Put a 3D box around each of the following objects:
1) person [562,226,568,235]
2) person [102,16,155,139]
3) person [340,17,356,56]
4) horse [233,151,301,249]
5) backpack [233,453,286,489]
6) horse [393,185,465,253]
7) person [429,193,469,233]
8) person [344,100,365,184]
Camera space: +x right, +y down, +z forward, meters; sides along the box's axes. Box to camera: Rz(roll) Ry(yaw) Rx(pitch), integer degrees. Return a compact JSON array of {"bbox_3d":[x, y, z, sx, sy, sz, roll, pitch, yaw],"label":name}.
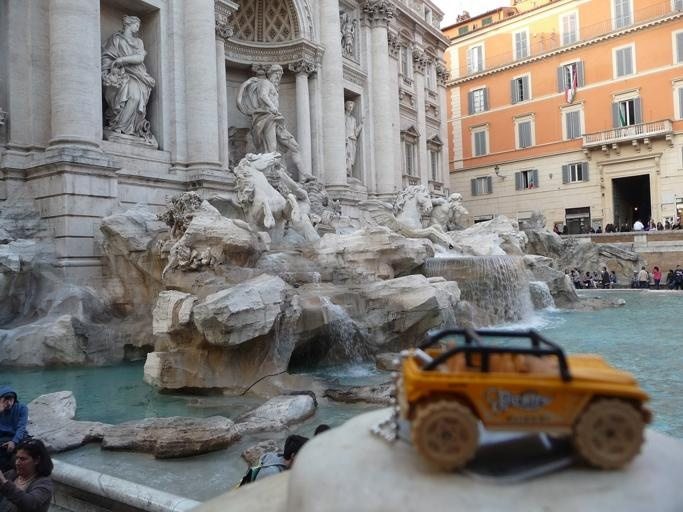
[{"bbox_3d":[13.914,-1.644,32.747,0.249,0.608,1.218,-8,-9,24],"label":"person"},{"bbox_3d":[-5.839,-4.770,14.359,1.471,3.381,0.918,2,-10,-40],"label":"person"},{"bbox_3d":[0.331,-9.652,23.162,0.296,1.909,1.040,-10,-9,34],"label":"person"},{"bbox_3d":[-1.878,-1.392,12.875,1.535,0.999,2.363,-21,44,-16],"label":"horse"},{"bbox_3d":[-0.548,1.509,3.682,0.325,0.181,0.563,-3,-8,-12],"label":"backpack"},{"bbox_3d":[2.620,-1.292,16.719,2.376,1.328,2.136,8,5,41],"label":"horse"},{"bbox_3d":[3.711,-1.428,18.089,1.299,1.664,0.777,8,33,18],"label":"person"},{"bbox_3d":[0.503,-5.195,22.938,0.747,3.740,1.344,-7,-8,20],"label":"person"}]
